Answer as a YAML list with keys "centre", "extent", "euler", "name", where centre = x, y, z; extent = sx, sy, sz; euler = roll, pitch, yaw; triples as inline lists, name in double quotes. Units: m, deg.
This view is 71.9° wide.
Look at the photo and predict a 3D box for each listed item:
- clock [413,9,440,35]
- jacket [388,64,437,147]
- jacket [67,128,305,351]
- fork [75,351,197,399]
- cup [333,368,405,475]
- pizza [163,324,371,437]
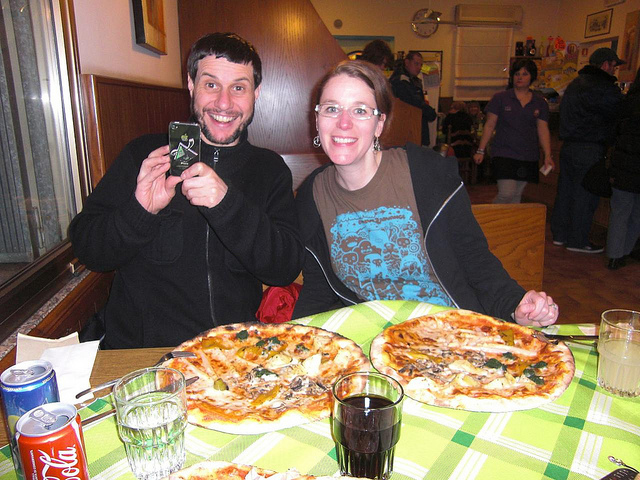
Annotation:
- centre: [2.394, -4.897, 9.878]
  extent: [0.640, 0.481, 0.459]
  euler: [-2, 19, -7]
  name: "clock"
- centre: [1.043, -1.522, 5.042]
  extent: [0.538, 0.936, 1.002]
  euler: [5, 19, 13]
  name: "jacket"
- centre: [-0.507, 0.135, 1.822]
  extent: [0.881, 0.992, 0.593]
  euler: [4, 10, -8]
  name: "jacket"
- centre: [-0.470, 0.336, 1.134]
  extent: [0.294, 0.014, 0.034]
  euler: [-18, 41, -32]
  name: "fork"
- centre: [0.101, 0.392, 0.934]
  extent: [0.141, 0.214, 0.142]
  euler: [-1, 15, 0]
  name: "cup"
- centre: [-0.158, 0.360, 1.212]
  extent: [0.482, 0.054, 0.489]
  euler: [-4, 18, -13]
  name: "pizza"
